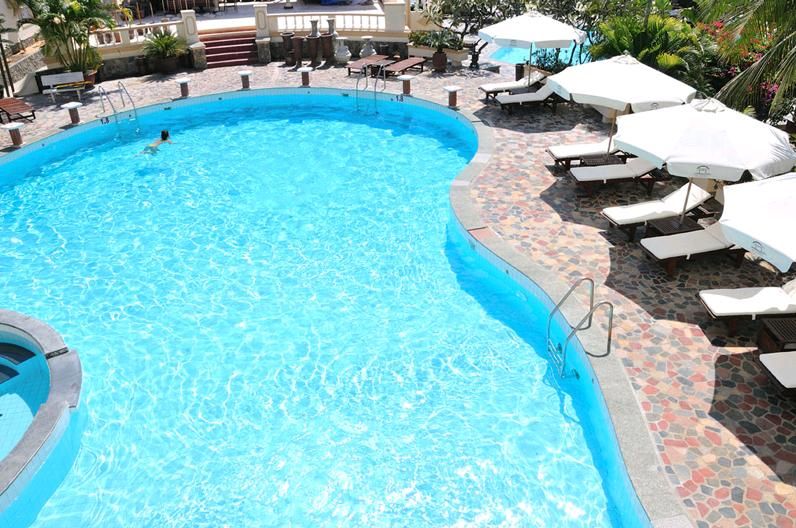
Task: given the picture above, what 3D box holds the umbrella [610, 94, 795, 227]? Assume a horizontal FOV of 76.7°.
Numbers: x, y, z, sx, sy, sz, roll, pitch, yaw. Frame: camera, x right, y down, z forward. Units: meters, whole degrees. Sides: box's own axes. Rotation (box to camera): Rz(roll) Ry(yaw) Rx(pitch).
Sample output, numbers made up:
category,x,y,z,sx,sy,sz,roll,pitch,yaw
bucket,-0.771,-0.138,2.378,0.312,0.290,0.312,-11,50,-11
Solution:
category,x,y,z,sx,sy,sz,roll,pitch,yaw
umbrella,6.915,-2.139,11.774,3.108,2.054,3.127,22,47,30
